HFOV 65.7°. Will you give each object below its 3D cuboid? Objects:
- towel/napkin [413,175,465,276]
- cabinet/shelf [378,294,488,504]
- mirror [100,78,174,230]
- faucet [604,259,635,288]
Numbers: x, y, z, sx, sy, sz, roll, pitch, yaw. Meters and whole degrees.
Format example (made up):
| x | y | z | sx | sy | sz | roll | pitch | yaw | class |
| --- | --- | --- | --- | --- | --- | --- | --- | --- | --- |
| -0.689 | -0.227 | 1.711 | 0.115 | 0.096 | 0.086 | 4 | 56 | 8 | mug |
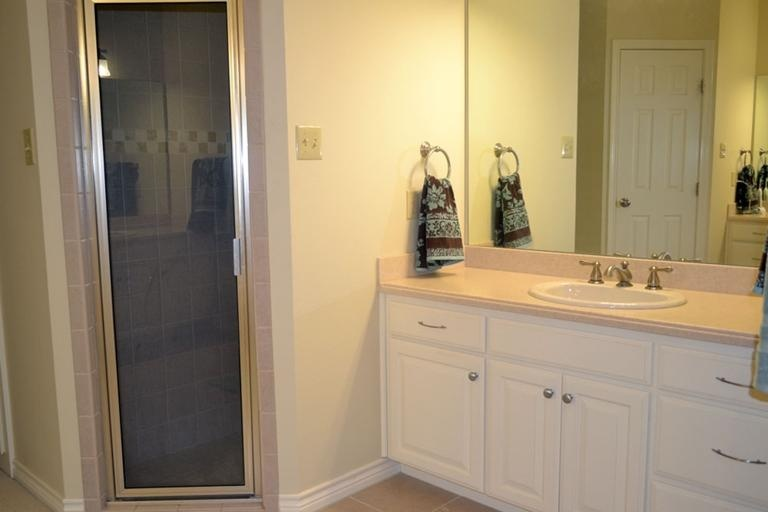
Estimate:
| x | y | z | sx | sy | sz | roll | pitch | yaw | class |
| --- | --- | --- | --- | --- | --- | --- | --- | --- | --- |
| 0.302 | -0.182 | 3.271 | 0.257 | 0.514 | 0.175 | -2 | 13 | -8 | towel/napkin |
| 0.400 | 0.648 | 3.345 | 0.702 | 0.994 | 0.668 | 11 | 18 | 41 | cabinet/shelf |
| -1.210 | -0.501 | 2.905 | 0.299 | 0.691 | 0.095 | -1 | 13 | -2 | mirror |
| 1.180 | 0.094 | 2.946 | 0.196 | 0.151 | 0.094 | -2 | 5 | -41 | faucet |
